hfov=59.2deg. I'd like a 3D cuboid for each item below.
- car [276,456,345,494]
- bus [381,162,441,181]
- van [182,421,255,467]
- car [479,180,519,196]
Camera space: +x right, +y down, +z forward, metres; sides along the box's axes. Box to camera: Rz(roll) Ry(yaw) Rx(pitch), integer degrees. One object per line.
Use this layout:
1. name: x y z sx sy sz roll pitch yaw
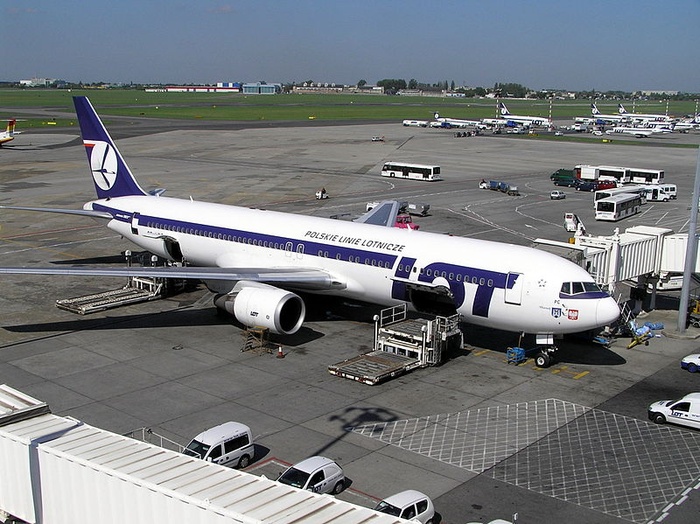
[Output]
1. car: -1.797 8.658 24.567 1.791 0.798 2.810 9 6 33
2. bus: 10.615 -15.217 103.576 13.244 1.977 3.411 10 22 26
3. van: -5.895 8.022 26.342 2.005 0.998 3.143 7 6 36
4. car: 22.444 -10.862 93.142 6.397 1.157 3.310 8 23 25
